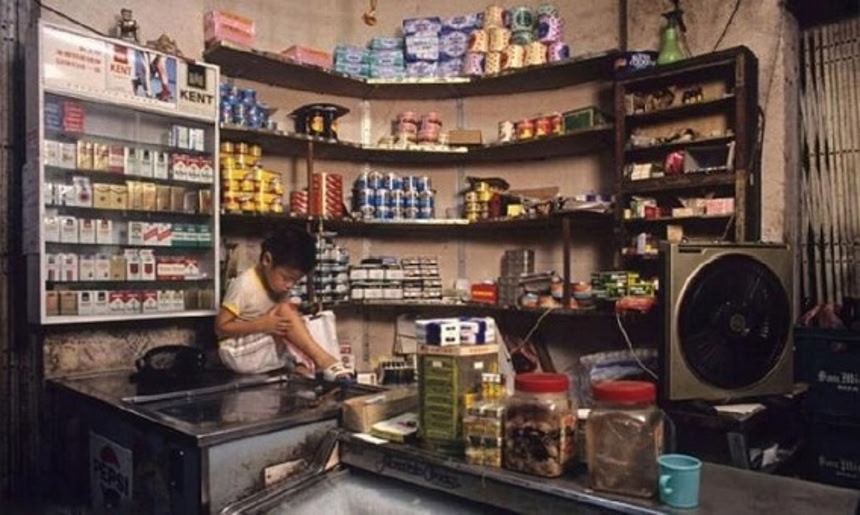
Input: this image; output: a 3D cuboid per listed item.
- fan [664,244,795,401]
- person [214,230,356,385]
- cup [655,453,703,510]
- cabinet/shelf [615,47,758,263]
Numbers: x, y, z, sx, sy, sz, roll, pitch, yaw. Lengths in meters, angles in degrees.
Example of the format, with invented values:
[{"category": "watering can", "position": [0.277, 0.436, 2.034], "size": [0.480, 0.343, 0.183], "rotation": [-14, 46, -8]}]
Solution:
[{"category": "fan", "position": [1.910, 0.429, 4.952], "size": [1.135, 1.156, 0.449], "rotation": [0, 2, -8]}, {"category": "person", "position": [-1.064, 0.377, 5.883], "size": [1.286, 1.125, 0.658], "rotation": [10, 9, 31]}, {"category": "cup", "position": [1.356, 1.210, 4.121], "size": [0.258, 0.294, 0.162], "rotation": [-1, 0, 2]}, {"category": "cabinet/shelf", "position": [2.040, -0.573, 6.121], "size": [1.007, 1.759, 0.478], "rotation": [-2, 3, 30]}]
